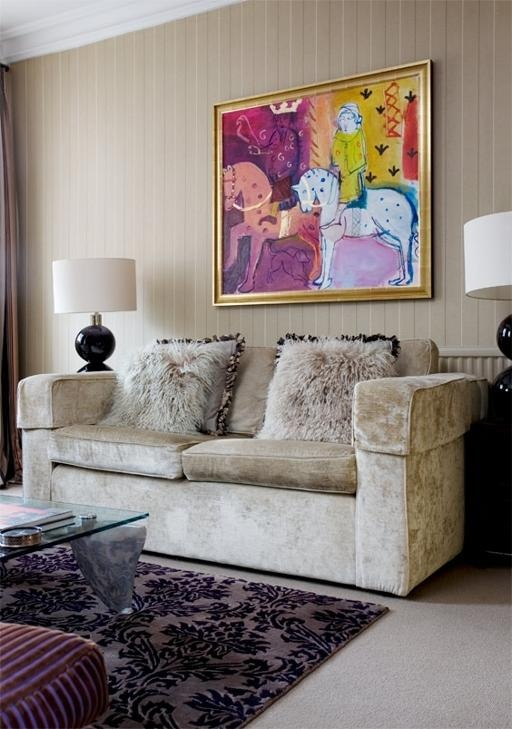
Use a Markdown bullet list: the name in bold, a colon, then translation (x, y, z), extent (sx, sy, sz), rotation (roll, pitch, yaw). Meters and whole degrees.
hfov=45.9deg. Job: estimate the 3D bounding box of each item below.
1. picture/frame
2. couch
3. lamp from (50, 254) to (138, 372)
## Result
- **picture/frame**: translation (0.392, -0.957, 3.183), extent (1.358, 1.271, 0.056), rotation (0, 1, 37)
- **couch**: translation (-0.112, 0.325, 2.616), extent (1.824, 0.927, 0.846), rotation (-1, -1, 26)
- **lamp**: translation (-0.958, -0.281, 3.648), extent (0.416, 0.691, 0.435), rotation (0, 2, -3)
